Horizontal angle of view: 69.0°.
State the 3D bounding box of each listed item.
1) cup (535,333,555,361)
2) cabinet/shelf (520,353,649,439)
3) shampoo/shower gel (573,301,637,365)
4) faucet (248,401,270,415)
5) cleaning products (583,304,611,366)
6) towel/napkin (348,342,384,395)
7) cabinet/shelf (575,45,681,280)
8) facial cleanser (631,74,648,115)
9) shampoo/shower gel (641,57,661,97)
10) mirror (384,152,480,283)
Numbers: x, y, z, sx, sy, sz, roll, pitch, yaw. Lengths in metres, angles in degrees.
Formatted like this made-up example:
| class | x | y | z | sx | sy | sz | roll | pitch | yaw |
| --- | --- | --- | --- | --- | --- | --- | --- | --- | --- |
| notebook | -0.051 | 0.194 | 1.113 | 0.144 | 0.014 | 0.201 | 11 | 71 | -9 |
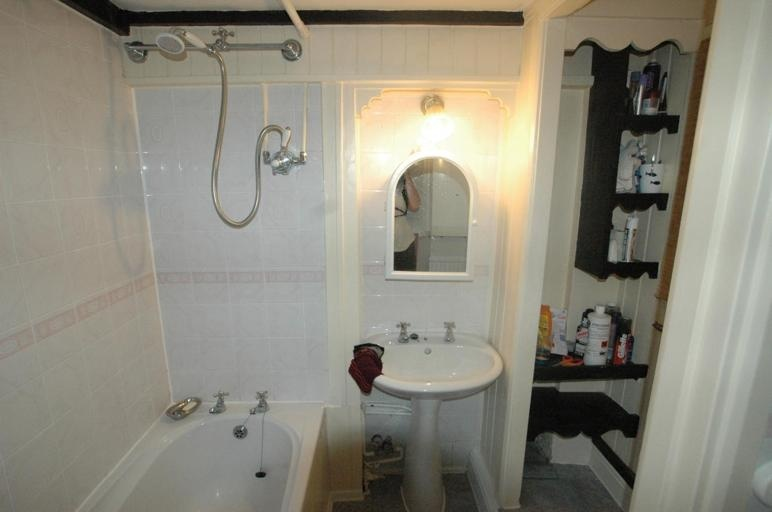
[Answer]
| class | x | y | z | sx | sy | sz | roll | pitch | yaw |
| --- | --- | --- | --- | --- | --- | --- | --- | --- | --- |
| cup | 0.906 | 0.520 | 3.226 | 0.127 | 0.144 | 0.127 | 2 | 6 | 0 |
| cabinet/shelf | 1.128 | 0.661 | 3.253 | 0.806 | 0.551 | 0.438 | 0 | 16 | 6 |
| shampoo/shower gel | 1.240 | 0.431 | 3.292 | 0.376 | 0.537 | 0.312 | 0 | -6 | 5 |
| faucet | -0.712 | 0.851 | 3.167 | 0.108 | 0.043 | 0.054 | 2 | 3 | -23 |
| cleaning products | 1.225 | 0.447 | 3.207 | 0.201 | 0.339 | 0.130 | -5 | 13 | -38 |
| towel/napkin | -0.104 | 0.592 | 3.055 | 0.207 | 0.097 | 0.260 | -3 | 35 | 6 |
| cabinet/shelf | 1.286 | -0.505 | 3.050 | 0.500 | 1.265 | 0.257 | 7 | 11 | 26 |
| facial cleanser | 1.348 | -0.856 | 2.983 | 0.056 | 0.217 | 0.040 | 7 | 0 | 10 |
| shampoo/shower gel | 1.413 | -0.944 | 2.987 | 0.104 | 0.174 | 0.070 | 4 | 10 | 8 |
| mirror | 0.258 | -0.248 | 3.165 | 0.699 | 0.947 | 0.051 | 0 | 9 | -2 |
